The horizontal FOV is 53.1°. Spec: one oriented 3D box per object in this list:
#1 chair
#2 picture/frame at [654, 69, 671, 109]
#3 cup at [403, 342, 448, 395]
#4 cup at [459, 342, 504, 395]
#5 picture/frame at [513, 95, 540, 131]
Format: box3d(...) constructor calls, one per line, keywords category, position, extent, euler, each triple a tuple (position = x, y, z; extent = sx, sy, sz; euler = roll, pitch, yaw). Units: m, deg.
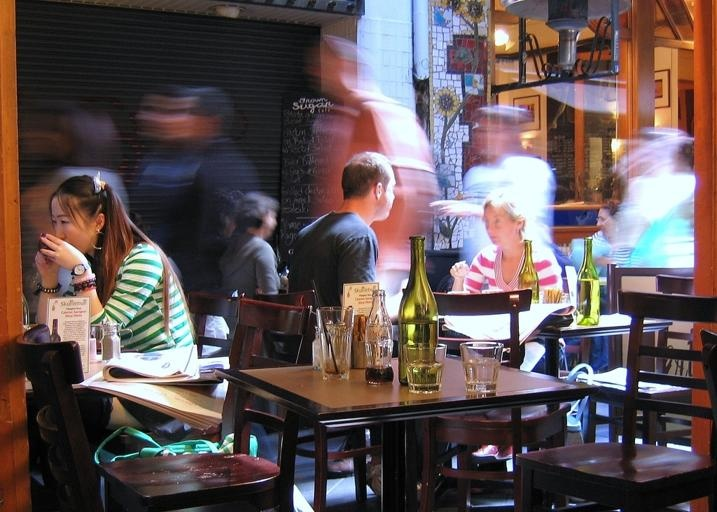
box3d(category="chair", position=(0.173, 0.561, 2.585), extent=(2.030, 0.516, 0.804), euler=(-4, 1, -14))
box3d(category="picture/frame", position=(2.732, -1.494, 6.423), extent=(0.132, 0.356, 0.080), euler=(-2, 2, 33))
box3d(category="cup", position=(0.217, 0.367, 2.335), extent=(0.144, 0.128, 0.129), euler=(0, -2, 32))
box3d(category="cup", position=(0.404, 0.359, 2.347), extent=(0.147, 0.163, 0.147), euler=(3, -1, 0))
box3d(category="picture/frame", position=(1.707, -1.443, 7.217), extent=(0.373, 0.441, 0.014), euler=(0, -1, 38))
